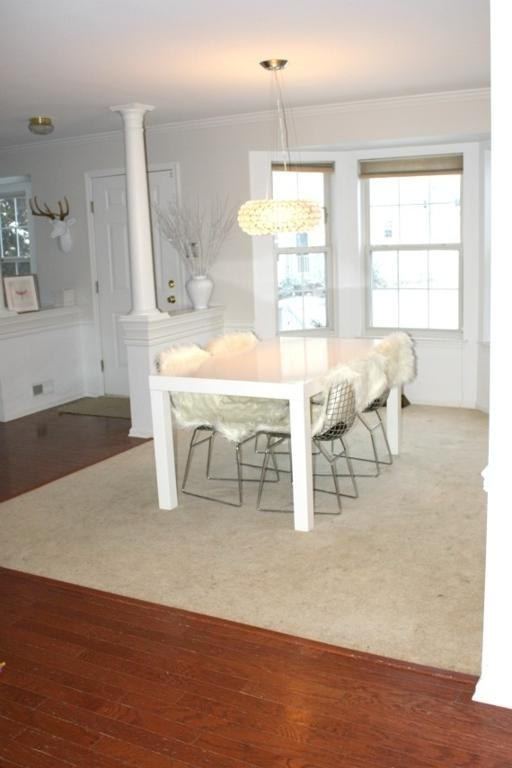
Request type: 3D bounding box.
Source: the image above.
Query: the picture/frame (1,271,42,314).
[{"bbox_3d":[-2.262,-0.866,5.823,0.069,0.438,0.466,0,17,26],"label":"picture/frame"}]

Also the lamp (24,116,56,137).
[{"bbox_3d":[-1.650,-1.992,4.631,0.229,0.159,0.231,-2,21,-5],"label":"lamp"}]

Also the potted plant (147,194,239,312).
[{"bbox_3d":[-0.631,-1.159,5.670,0.909,1.349,1.011,1,8,12],"label":"potted plant"}]

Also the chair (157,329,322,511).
[{"bbox_3d":[-0.087,0.141,3.572,0.876,1.043,0.830,1,7,35],"label":"chair"}]
